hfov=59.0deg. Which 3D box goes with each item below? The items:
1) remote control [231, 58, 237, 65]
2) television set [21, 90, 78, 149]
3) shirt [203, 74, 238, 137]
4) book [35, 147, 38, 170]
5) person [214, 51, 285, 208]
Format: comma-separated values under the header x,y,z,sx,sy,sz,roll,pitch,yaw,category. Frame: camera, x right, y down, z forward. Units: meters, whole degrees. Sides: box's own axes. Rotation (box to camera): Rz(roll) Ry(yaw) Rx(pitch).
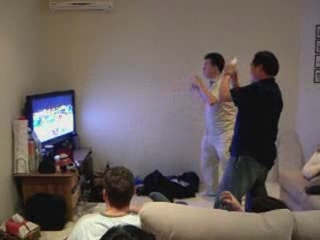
x,y,z,sx,sy,sz,roll,pitch,yaw,category
0.773,-0.608,2.934,0.019,0.062,0.063,17,1,-28,remote control
-1.375,-0.023,3.969,0.817,0.684,0.364,-8,-3,28,television set
0.793,-0.128,4.043,0.603,1.013,0.922,-3,6,10,shirt
-1.497,0.460,3.420,0.044,0.272,0.026,-3,5,-19,book
0.850,0.107,2.760,0.627,1.522,0.318,0,5,25,person
